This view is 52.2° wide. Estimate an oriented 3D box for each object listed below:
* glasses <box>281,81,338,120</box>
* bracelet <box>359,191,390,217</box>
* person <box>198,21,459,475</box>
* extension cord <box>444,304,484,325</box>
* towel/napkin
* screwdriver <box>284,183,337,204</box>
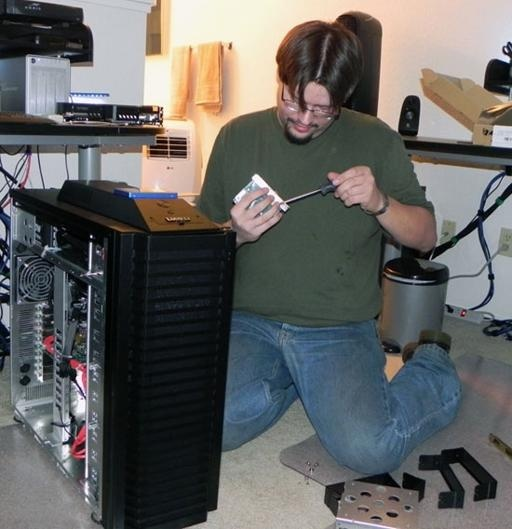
[{"bbox_3d":[0.114,-0.349,1.125,0.119,0.070,0.068,2,16,2],"label":"glasses"},{"bbox_3d":[0.272,-0.142,1.196,0.051,0.016,0.050,-4,-22,-45],"label":"bracelet"},{"bbox_3d":[0.215,-0.038,1.261,0.697,1.011,0.474,-1,16,-7],"label":"person"},{"bbox_3d":[0.996,0.237,2.502,0.211,0.058,0.057,12,8,37],"label":"extension cord"},{"bbox_3d":[-0.443,-1.385,3.944,0.108,0.698,0.671,-7,16,-41],"label":"towel/napkin"},{"bbox_3d":[0.132,-0.165,1.221,0.112,0.036,0.026,-21,3,1],"label":"screwdriver"}]
